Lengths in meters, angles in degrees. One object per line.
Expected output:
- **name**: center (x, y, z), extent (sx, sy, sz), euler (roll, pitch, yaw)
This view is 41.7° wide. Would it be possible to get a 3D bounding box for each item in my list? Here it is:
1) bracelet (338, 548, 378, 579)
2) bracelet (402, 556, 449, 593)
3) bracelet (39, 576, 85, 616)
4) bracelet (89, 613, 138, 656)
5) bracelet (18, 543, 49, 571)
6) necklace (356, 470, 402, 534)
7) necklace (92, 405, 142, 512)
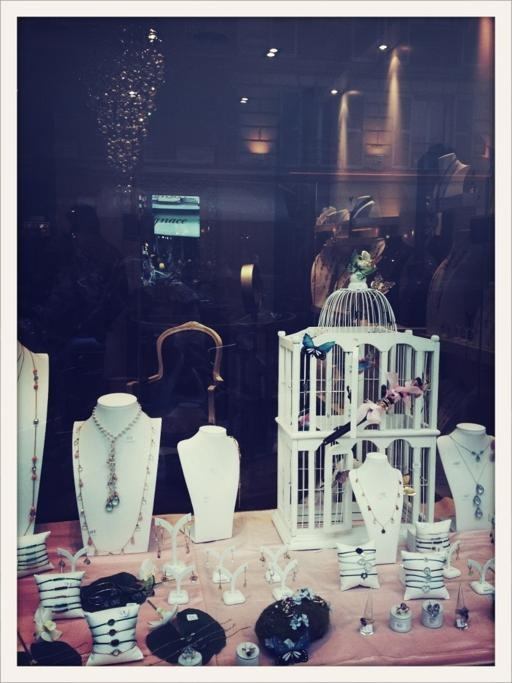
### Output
- **bracelet**: center (0.386, 0.849, 2.567), extent (0.104, 0.116, 0.044), euler (2, -5, 1)
- **bracelet**: center (0.636, 0.886, 2.544), extent (0.119, 0.147, 0.051), euler (-1, -3, -8)
- **bracelet**: center (-0.714, 0.929, 2.442), extent (0.168, 0.137, 0.114), euler (-2, 8, -15)
- **bracelet**: center (-0.485, 1.001, 2.292), extent (0.122, 0.140, 0.055), euler (-1, -5, -9)
- **bracelet**: center (-0.866, 0.833, 2.598), extent (0.091, 0.108, 0.040), euler (4, -10, -35)
- **necklace**: center (0.495, 0.635, 2.688), extent (0.192, 0.272, 0.147), euler (-3, 8, -7)
- **necklace**: center (-0.579, 0.432, 2.722), extent (0.214, 0.036, 0.451), euler (3, 35, -13)
